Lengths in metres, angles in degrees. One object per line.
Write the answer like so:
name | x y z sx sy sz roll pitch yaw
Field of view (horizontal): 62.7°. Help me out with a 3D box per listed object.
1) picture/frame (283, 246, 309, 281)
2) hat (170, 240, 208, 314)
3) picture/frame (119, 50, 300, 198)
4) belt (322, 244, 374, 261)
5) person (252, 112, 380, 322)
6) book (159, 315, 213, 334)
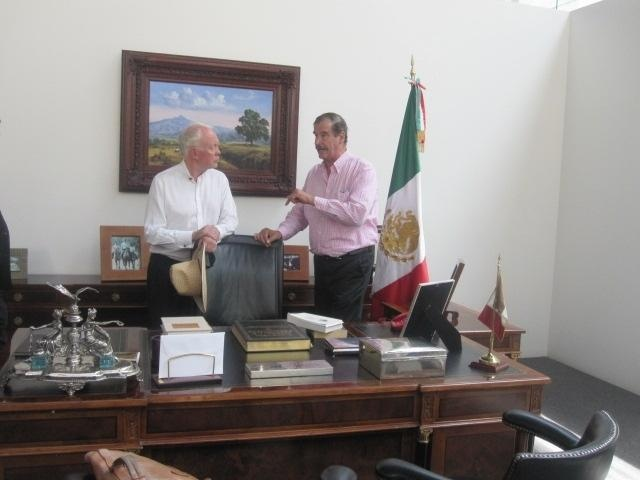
picture/frame | -0.265 0.203 4.802 0.261 0.309 0.016 1 23 3
hat | -0.751 0.223 3.123 0.136 0.393 0.312 -6 15 -24
picture/frame | -1.013 -1.045 4.555 1.315 1.101 0.062 1 1 -19
belt | 0.218 0.095 3.906 0.392 0.113 0.164 -1 8 -2
person | 0.077 -0.167 3.937 0.697 1.525 0.514 1 8 9
book | -0.670 0.431 2.675 0.143 0.037 0.146 0 8 -27
